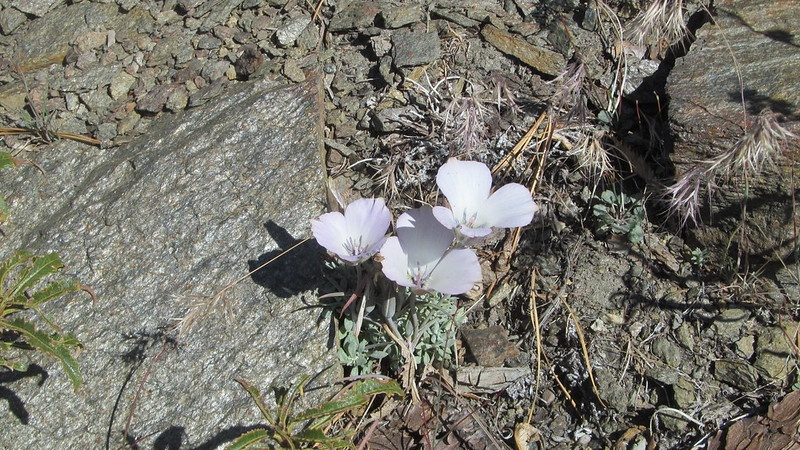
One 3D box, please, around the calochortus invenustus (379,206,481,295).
[{"bbox_3d":[0.211,0.225,4.437,0.635,0.296,0.634,16,80,3],"label":"calochortus invenustus"}]
